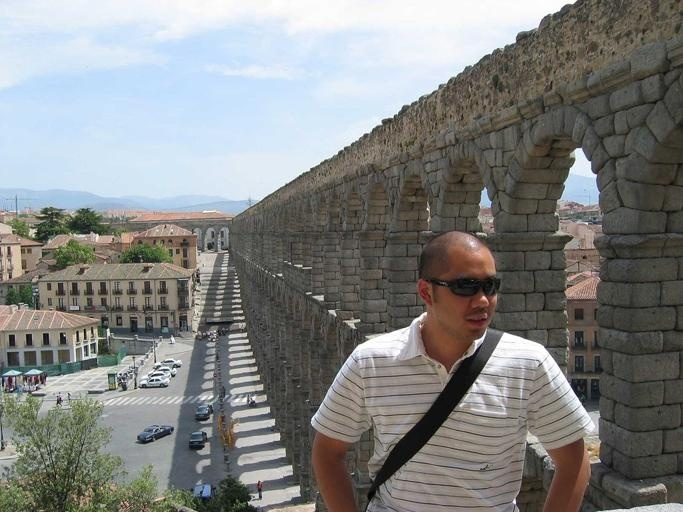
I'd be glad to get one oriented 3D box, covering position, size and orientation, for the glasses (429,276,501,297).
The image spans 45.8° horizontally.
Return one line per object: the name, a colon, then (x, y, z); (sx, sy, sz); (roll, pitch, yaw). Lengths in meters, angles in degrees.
glasses: (1.008, 0.251, 6.588); (0.592, 0.180, 0.111); (-5, 4, -1)
